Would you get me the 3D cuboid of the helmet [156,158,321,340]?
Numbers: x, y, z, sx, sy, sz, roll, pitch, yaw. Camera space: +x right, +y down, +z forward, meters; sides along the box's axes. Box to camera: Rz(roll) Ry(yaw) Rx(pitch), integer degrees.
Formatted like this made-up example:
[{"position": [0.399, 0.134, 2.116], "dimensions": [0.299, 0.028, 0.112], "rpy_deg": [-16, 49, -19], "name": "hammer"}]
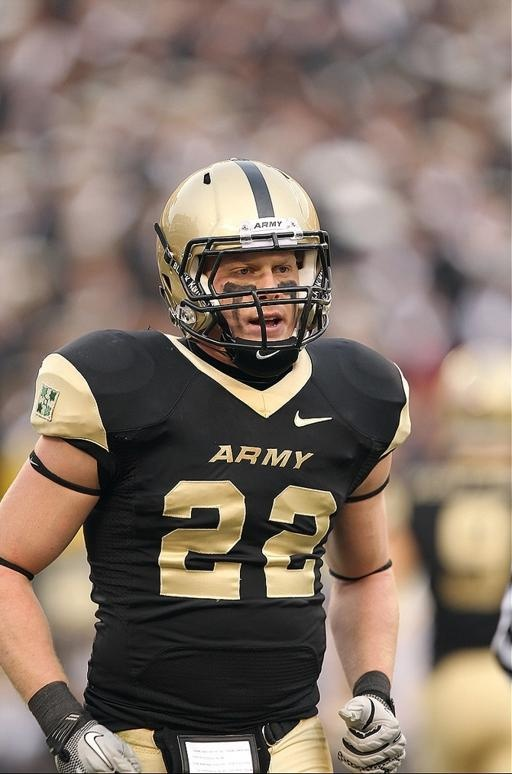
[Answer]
[{"position": [-0.021, -0.298, 1.811], "dimensions": [0.356, 0.311, 0.426], "rpy_deg": [-9, 24, -23], "name": "helmet"}]
